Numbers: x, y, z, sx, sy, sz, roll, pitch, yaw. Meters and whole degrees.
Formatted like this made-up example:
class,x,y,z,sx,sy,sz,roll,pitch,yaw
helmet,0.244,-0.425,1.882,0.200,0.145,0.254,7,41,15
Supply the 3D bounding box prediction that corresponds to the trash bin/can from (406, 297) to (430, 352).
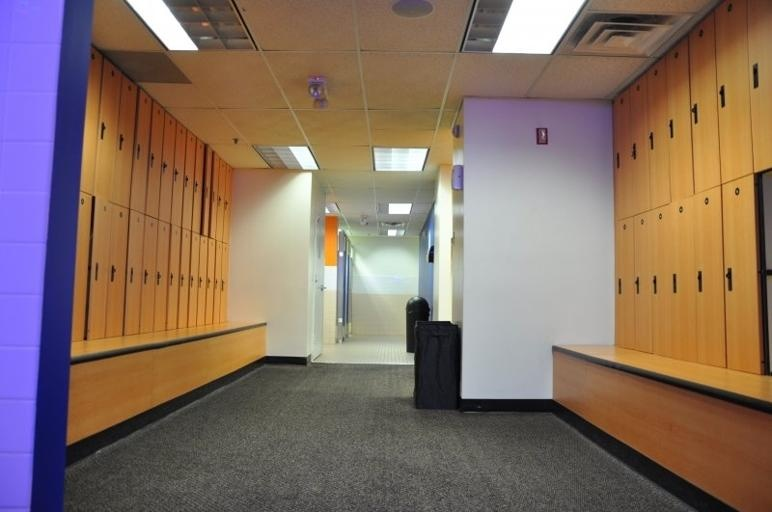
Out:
class,x,y,z,sx,sy,sz,roll,pitch,yaw
trash bin/can,0.601,1.342,9.869,0.451,1.070,0.638,0,1,2
